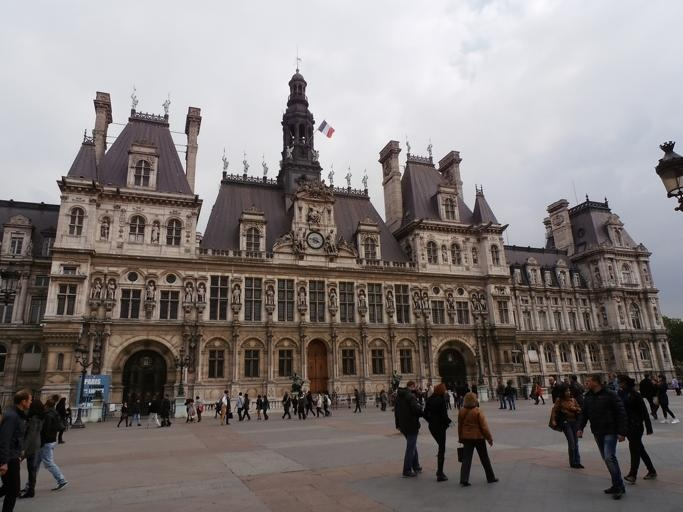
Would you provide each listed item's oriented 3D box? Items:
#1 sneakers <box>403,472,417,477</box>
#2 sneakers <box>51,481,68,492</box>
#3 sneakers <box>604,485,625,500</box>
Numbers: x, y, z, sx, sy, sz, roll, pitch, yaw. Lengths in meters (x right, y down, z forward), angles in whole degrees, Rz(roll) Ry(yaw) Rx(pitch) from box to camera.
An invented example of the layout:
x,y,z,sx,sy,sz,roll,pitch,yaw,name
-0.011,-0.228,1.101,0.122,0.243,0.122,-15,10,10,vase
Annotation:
x,y,z,sx,sy,sz,roll,pitch,yaw,name
2.127,6.792,14.679,0.416,0.186,0.158,6,-19,-17,sneakers
-8.490,6.881,14.111,0.536,0.235,0.184,-6,-30,-41,sneakers
7.171,6.164,12.329,0.270,0.221,0.480,-8,-14,31,sneakers
